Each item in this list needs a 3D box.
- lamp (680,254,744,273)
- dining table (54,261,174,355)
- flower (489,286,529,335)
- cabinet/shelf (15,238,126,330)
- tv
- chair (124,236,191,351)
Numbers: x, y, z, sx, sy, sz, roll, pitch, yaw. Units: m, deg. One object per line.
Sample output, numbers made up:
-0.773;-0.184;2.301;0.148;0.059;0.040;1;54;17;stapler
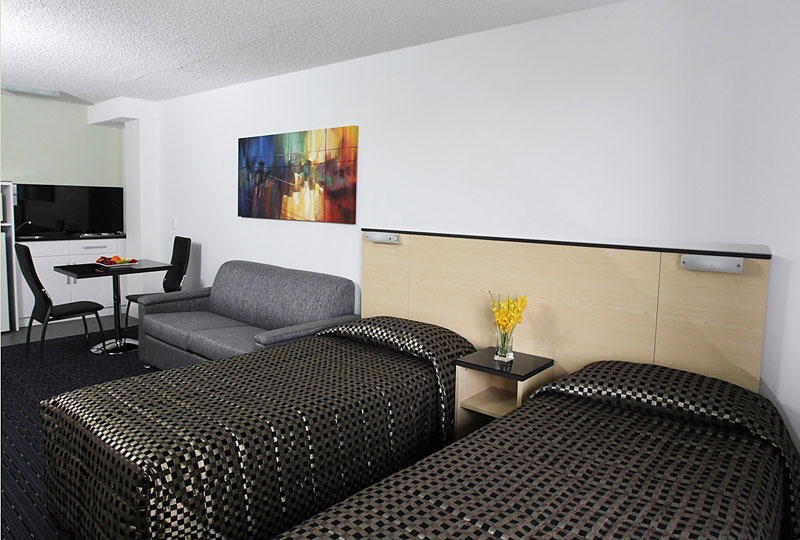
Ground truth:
1.841;-0.033;2.917;0.311;0.108;0.045;2;8;34;lamp
-3.187;0.434;5.472;0.561;0.800;0.843;11;12;38;dining table
0.756;0.285;3.431;0.254;0.270;0.274;2;6;12;flower
-3.888;0.175;5.747;0.404;0.925;1.073;2;4;42;cabinet/shelf
-4.350;-0.795;6.566;1.249;0.637;0.113;-8;9;-43;tv
-2.746;0.207;5.588;0.553;1.074;0.617;7;8;42;chair
